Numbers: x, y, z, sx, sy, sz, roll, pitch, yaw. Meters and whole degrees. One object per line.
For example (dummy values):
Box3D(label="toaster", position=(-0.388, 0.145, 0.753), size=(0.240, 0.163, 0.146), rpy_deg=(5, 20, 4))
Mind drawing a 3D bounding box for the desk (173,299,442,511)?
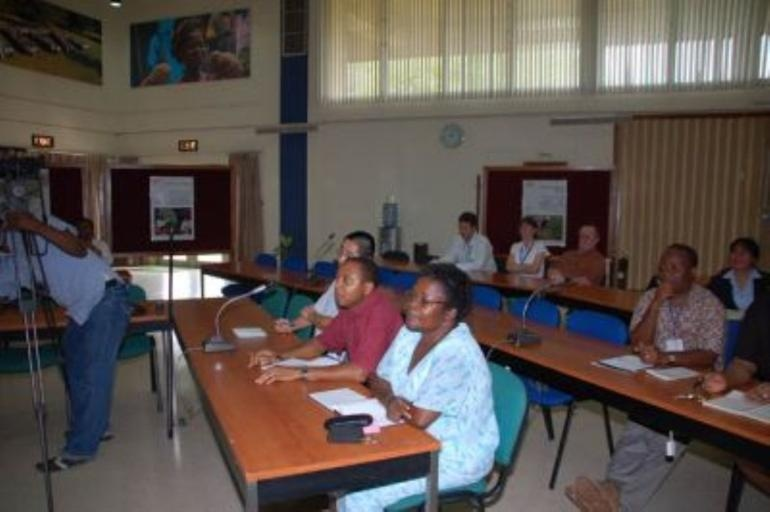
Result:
Box3D(label="desk", position=(-0.698, 1.108, 4.004), size=(1.091, 0.775, 2.237), rpy_deg=(-5, 6, -29))
